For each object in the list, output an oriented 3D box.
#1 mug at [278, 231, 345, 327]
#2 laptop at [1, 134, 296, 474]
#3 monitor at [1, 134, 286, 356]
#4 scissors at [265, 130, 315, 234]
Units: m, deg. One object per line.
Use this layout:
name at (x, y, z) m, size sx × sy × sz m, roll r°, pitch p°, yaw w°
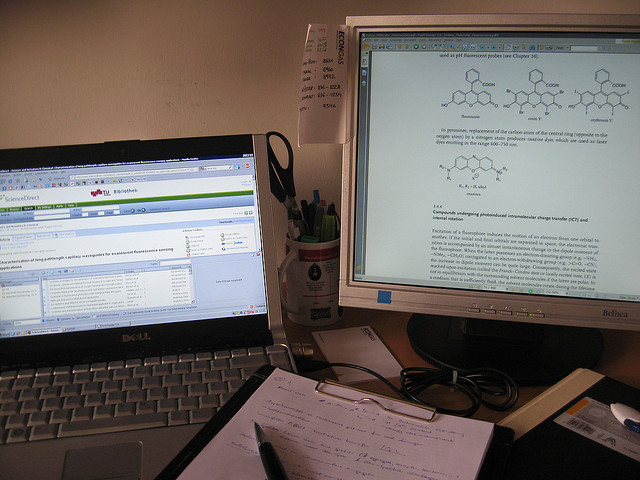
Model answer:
mug at (-0.016, 0.080, 1.080) m, size 0.131 × 0.174 × 0.067 m, roll -3°, pitch 11°, yaw -11°
laptop at (-0.293, 0.124, 1.003) m, size 0.553 × 0.479 × 0.333 m, roll -5°, pitch 47°, yaw -11°
monitor at (-0.297, 0.007, 0.948) m, size 0.461 × 0.351 × 0.054 m, roll -2°, pitch 11°, yaw -4°
scissors at (-0.071, -0.125, 1.138) m, size 0.030 × 0.199 × 0.110 m, roll -25°, pitch -15°, yaw 16°
